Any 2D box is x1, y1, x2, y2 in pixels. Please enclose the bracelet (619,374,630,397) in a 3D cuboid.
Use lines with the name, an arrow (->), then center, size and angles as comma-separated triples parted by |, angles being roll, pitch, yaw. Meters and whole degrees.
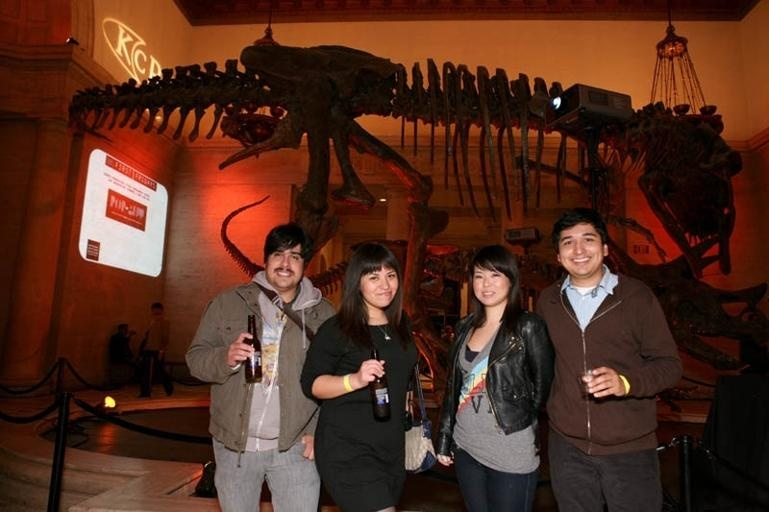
bracelet -> 1.675, 0.892, 3.654 | 0.049, 0.126, 0.099 | -11, 13, 22

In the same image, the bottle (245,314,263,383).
bottle -> -0.979, 0.687, 3.916 | 0.125, 0.511, 0.215 | -1, -7, -12

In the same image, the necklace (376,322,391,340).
necklace -> -0.014, 0.560, 3.931 | 0.079, 0.024, 0.232 | -5, 15, -11
